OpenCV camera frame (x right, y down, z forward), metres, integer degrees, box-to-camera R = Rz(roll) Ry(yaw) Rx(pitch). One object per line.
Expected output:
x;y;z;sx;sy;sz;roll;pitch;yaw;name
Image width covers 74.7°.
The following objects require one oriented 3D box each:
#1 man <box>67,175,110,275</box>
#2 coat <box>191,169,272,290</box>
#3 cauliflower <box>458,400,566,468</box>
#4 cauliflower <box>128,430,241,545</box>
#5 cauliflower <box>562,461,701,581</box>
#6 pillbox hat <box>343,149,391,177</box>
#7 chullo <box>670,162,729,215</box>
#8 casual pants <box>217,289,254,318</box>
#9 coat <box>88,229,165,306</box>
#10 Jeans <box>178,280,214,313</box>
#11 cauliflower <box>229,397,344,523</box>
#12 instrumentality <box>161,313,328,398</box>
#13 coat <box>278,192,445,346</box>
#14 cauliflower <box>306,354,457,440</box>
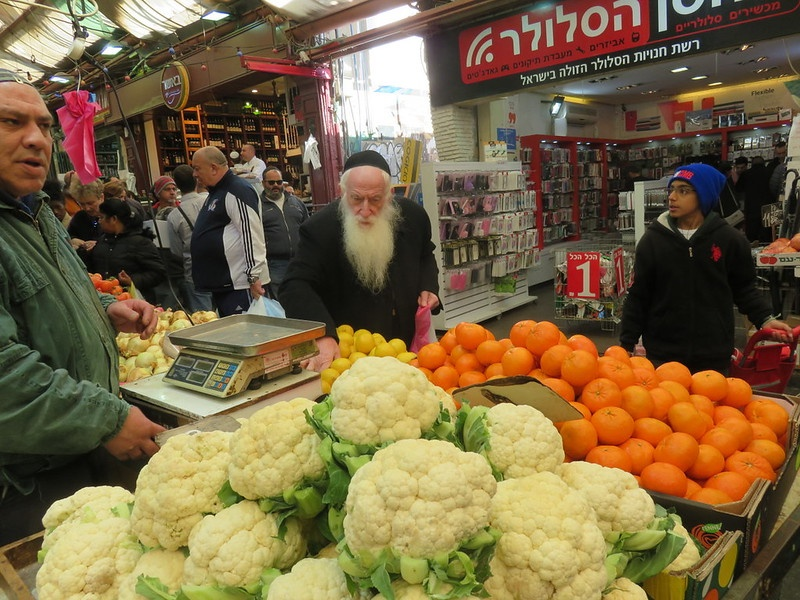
-3.487;-0.831;5.831;0.362;1.137;0.380;-12;1;-38;man
-1.541;-0.632;4.736;0.692;1.028;1.119;-11;16;-35;coat
0.311;0.376;1.442;0.201;0.109;0.192;6;41;-12;cauliflower
-0.539;0.476;1.439;0.212;0.153;0.296;-22;32;27;cauliflower
0.585;0.634;1.445;0.317;0.172;0.247;41;62;11;cauliflower
-0.186;-0.814;3.147;0.301;0.148;0.271;-11;19;-21;pillbox hat
1.937;-0.702;3.428;0.357;0.302;0.289;8;4;2;chullo
-1.343;0.014;4.298;0.218;0.219;0.131;-3;1;10;casual pants
-2.327;-0.286;4.452;0.669;0.748;0.483;-2;4;2;coat
-2.093;-0.045;5.374;0.259;0.184;0.587;18;-12;-25;Jeans
-0.273;0.421;1.426;0.265;0.258;0.273;-25;18;15;cauliflower
-0.666;0.216;2.212;0.567;0.196;0.524;7;12;43;instrumentality
-0.240;-0.162;3.311;1.342;1.004;0.628;-10;13;-36;coat
-0.077;0.239;1.366;0.236;0.131;0.184;3;7;43;cauliflower
